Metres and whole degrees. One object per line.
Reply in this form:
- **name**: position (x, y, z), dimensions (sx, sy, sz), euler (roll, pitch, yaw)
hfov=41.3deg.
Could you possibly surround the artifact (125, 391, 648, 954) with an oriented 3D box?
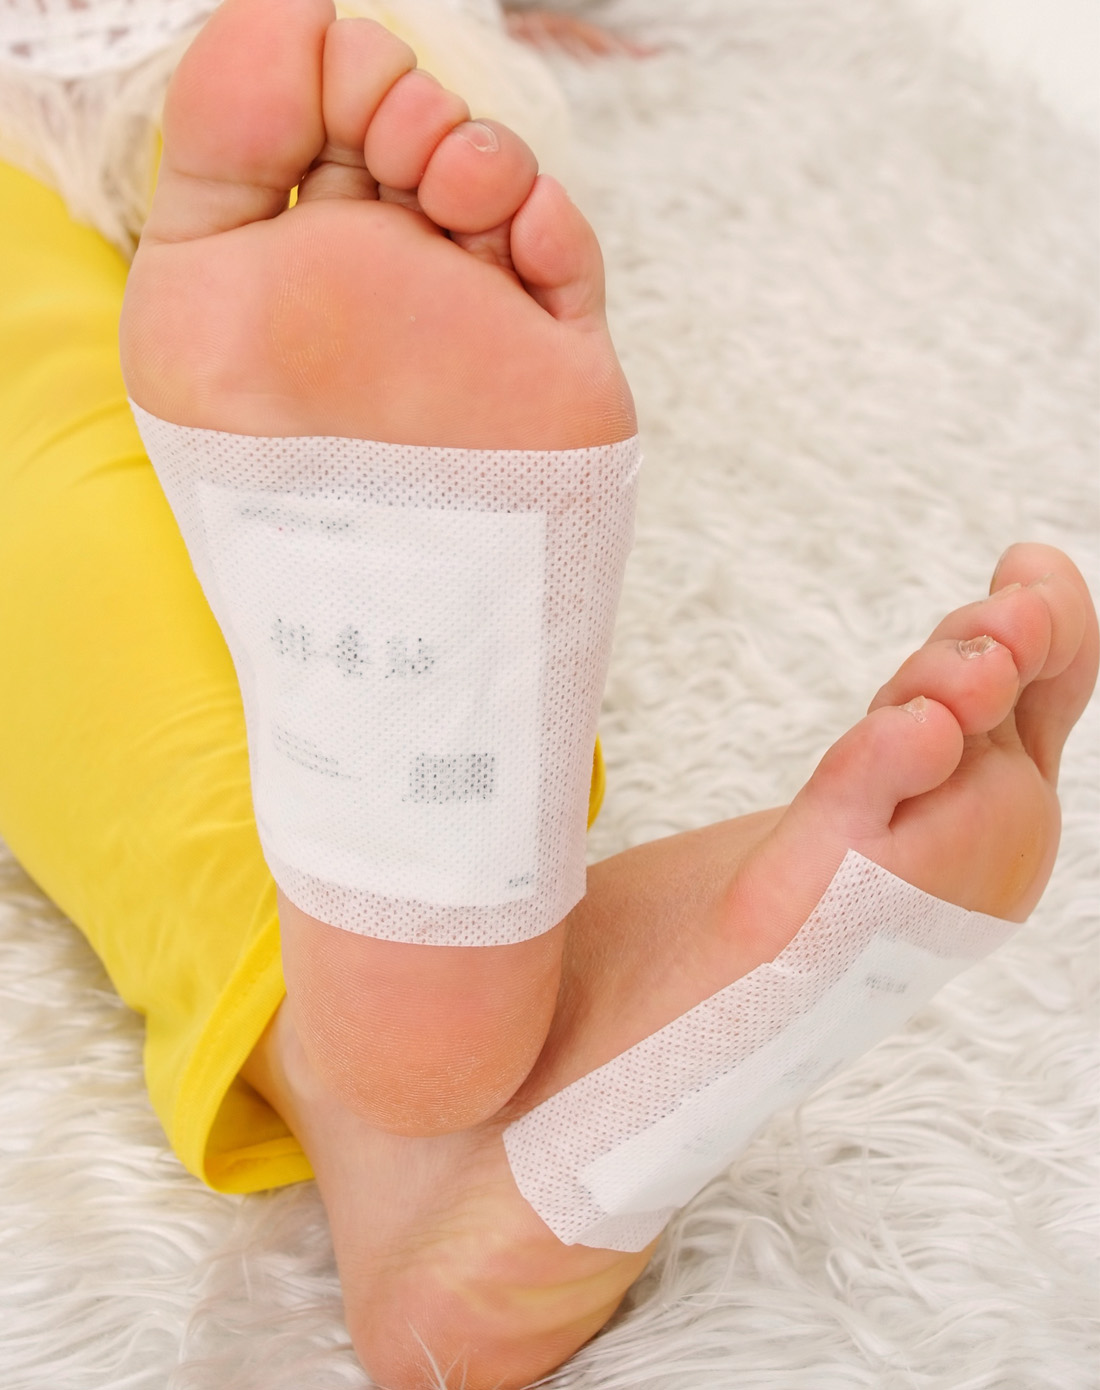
- **artifact**: position (-0.078, -0.006, 0.612), dimensions (0.203, 0.187, 0.163), euler (6, 51, 2)
